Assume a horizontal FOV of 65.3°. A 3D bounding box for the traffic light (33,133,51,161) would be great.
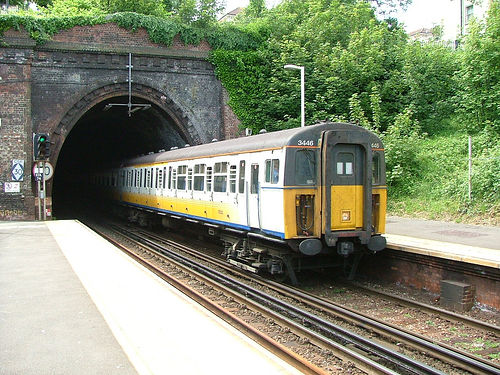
[{"bbox_3d":[-10.175,-2.006,19.393,0.852,1.383,0.781,-1,1,0],"label":"traffic light"}]
